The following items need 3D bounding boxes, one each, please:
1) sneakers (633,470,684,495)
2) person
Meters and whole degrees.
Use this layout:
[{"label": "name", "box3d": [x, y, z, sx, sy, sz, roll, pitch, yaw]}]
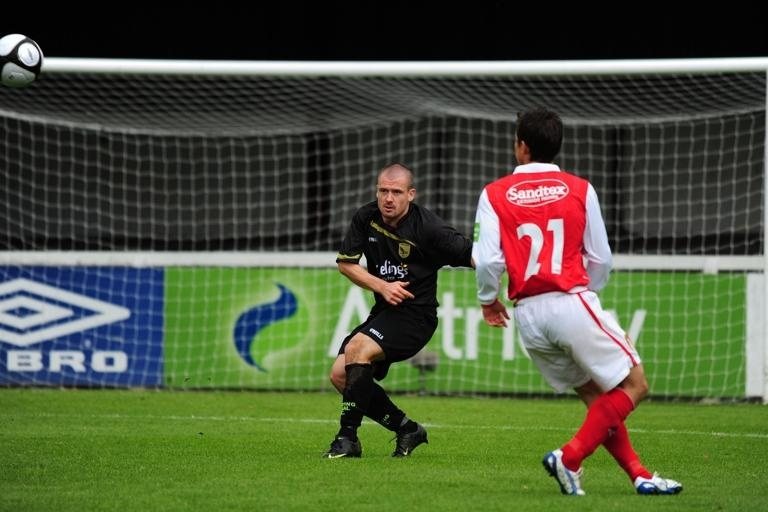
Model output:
[{"label": "sneakers", "box3d": [2.005, 1.703, 7.673, 0.382, 0.163, 0.127, -1, -8, 0]}, {"label": "person", "box3d": [1.331, 0.333, 7.685, 1.370, 2.838, 0.590, 2, 7, 5]}]
